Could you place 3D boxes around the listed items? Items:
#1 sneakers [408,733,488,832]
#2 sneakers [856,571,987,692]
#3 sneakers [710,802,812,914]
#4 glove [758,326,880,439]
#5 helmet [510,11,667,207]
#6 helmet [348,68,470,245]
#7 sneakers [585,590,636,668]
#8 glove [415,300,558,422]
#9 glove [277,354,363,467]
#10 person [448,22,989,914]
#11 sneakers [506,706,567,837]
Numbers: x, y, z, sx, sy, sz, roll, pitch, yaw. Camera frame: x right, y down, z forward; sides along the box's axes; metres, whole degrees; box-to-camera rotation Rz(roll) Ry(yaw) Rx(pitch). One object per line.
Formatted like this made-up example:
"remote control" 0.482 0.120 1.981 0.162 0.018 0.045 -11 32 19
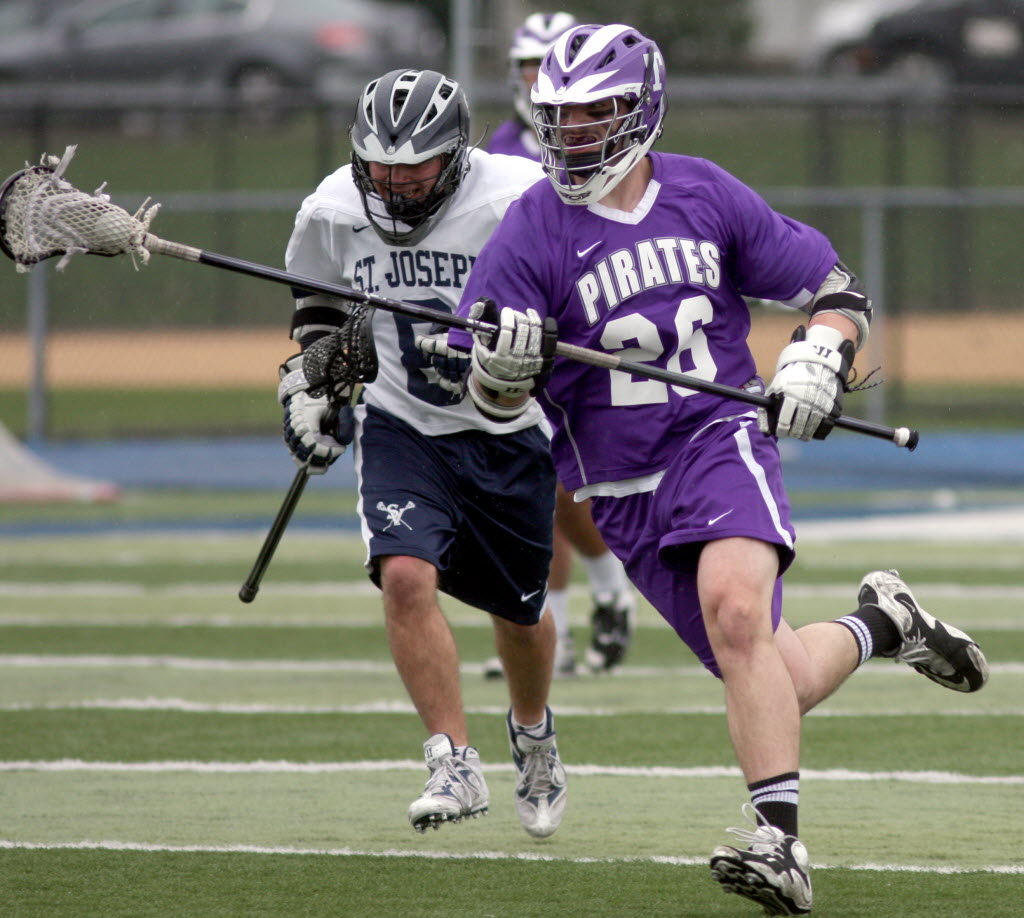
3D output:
"sneakers" -0.181 0.859 6.120 0.137 0.217 0.376 -9 -5 22
"sneakers" 1.339 0.577 7.528 0.511 0.231 0.184 36 -27 -9
"sneakers" 0.619 0.995 5.677 0.241 0.240 0.206 2 8 9
"glove" 0.789 -0.248 6.169 0.248 0.136 0.407 31 -23 7
"helmet" 0.262 -0.922 6.093 0.413 0.420 0.487 4 16 34
"helmet" -0.275 -0.856 6.456 0.356 0.406 0.435 2 26 8
"sneakers" 0.369 0.625 8.418 0.118 0.314 0.151 10 16 15
"glove" -0.029 -0.246 5.948 0.275 0.202 0.349 -2 26 -38
"glove" -0.558 -0.151 6.492 0.275 0.334 0.156 3 -30 -30
"person" 0.444 -0.050 6.143 1.204 2.183 1.317 3 9 9
"sneakers" 0.085 0.880 6.414 0.109 0.314 0.140 -7 -31 -3
